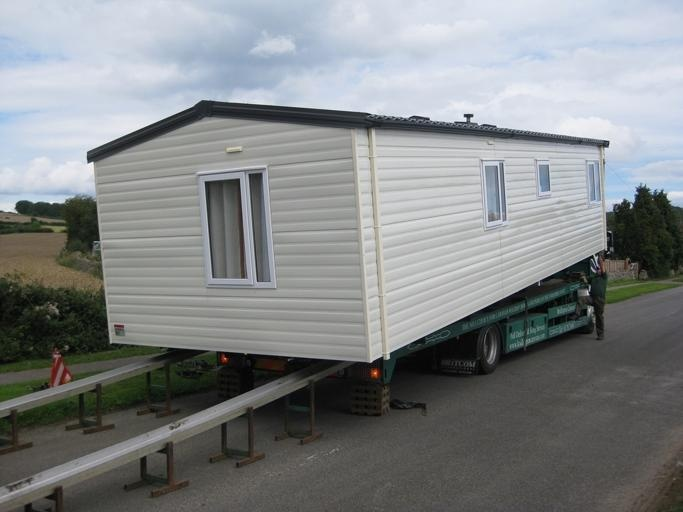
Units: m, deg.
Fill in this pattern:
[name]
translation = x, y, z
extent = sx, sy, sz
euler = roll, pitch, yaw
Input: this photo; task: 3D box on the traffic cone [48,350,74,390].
[traffic cone]
translation = -5.047, 2.058, 10.374
extent = 0.497, 0.768, 0.349
euler = -36, -35, 24
